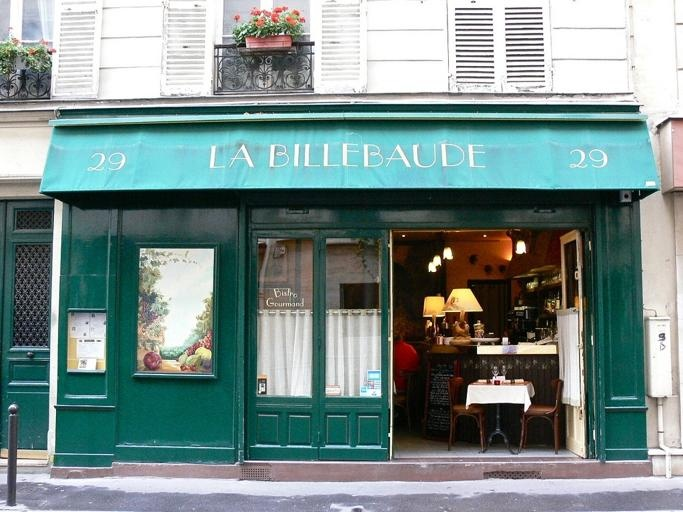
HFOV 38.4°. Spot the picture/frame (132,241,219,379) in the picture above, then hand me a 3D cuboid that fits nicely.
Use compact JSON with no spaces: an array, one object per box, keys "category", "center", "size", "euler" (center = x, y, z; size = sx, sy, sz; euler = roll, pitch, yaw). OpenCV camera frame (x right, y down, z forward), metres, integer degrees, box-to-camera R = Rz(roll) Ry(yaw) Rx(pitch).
[{"category":"picture/frame","center":[-2.382,0.779,14.062],"size":[1.105,1.783,0.185],"euler":[0,-9,2]}]

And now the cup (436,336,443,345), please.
[{"category":"cup","center":[1.608,1.364,15.811],"size":[0.104,0.123,0.111],"euler":[0,-4,0]}]

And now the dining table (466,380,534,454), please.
[{"category":"dining table","center":[2.360,2.405,14.545],"size":[0.986,0.917,1.033],"euler":[0,-1,8]}]

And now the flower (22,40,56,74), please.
[{"category":"flower","center":[-4.431,-2.892,14.335],"size":[0.459,0.467,0.255],"euler":[2,7,-36]}]

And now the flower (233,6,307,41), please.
[{"category":"flower","center":[-1.047,-3.387,14.246],"size":[1.049,0.644,0.572],"euler":[0,-8,-3]}]

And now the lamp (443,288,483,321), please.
[{"category":"lamp","center":[2.026,0.780,16.372],"size":[0.547,0.514,0.808],"euler":[0,-8,-1]}]

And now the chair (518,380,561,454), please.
[{"category":"chair","center":[2.981,2.352,14.549],"size":[0.632,1.034,0.595],"euler":[1,-3,8]}]
